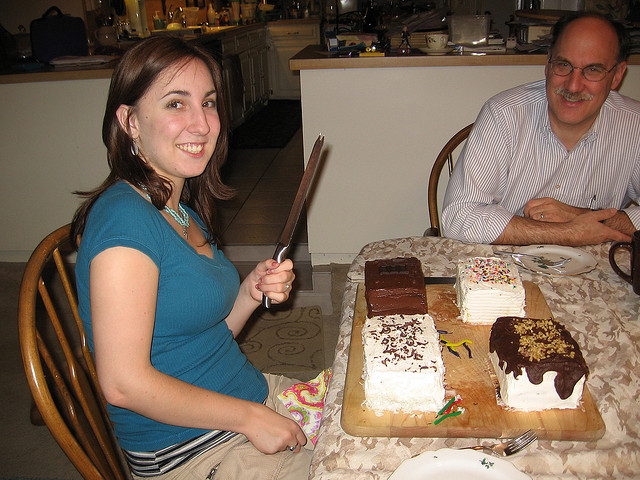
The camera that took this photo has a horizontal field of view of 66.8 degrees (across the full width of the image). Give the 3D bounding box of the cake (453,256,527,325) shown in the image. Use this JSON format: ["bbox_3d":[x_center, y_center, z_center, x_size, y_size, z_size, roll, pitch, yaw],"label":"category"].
[{"bbox_3d":[0.479,0.136,1.381,0.170,0.107,0.202,-2,25,10],"label":"cake"}]

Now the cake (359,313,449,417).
[{"bbox_3d":[0.201,0.294,1.174,0.152,0.073,0.207,-1,31,3],"label":"cake"}]

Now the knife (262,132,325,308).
[{"bbox_3d":[-0.084,-0.042,1.420,0.040,0.557,0.053,17,1,-32],"label":"knife"}]

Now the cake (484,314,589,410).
[{"bbox_3d":[0.506,0.287,1.149,0.199,0.125,0.193,0,32,3],"label":"cake"}]

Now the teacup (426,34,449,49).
[{"bbox_3d":[0.716,-1.216,2.964,0.102,0.067,0.095,-5,33,2],"label":"teacup"}]

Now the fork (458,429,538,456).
[{"bbox_3d":[0.374,0.420,1.013,0.165,0.042,0.049,-9,23,-9],"label":"fork"}]

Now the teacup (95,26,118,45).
[{"bbox_3d":[-2.082,-1.984,4.705,0.201,0.165,0.112,-9,23,-8],"label":"teacup"}]

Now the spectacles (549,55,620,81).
[{"bbox_3d":[0.999,-0.659,1.879,0.210,0.084,0.058,6,26,26],"label":"spectacles"}]

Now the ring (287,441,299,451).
[{"bbox_3d":[-0.077,0.565,1.333,0.025,0.009,0.021,-10,-1,6],"label":"ring"}]

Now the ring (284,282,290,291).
[{"bbox_3d":[-0.100,0.139,1.460,0.004,0.018,0.013,1,58,45],"label":"ring"}]

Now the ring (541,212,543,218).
[{"bbox_3d":[0.864,-0.098,1.893,0.004,0.016,0.012,1,24,16],"label":"ring"}]
